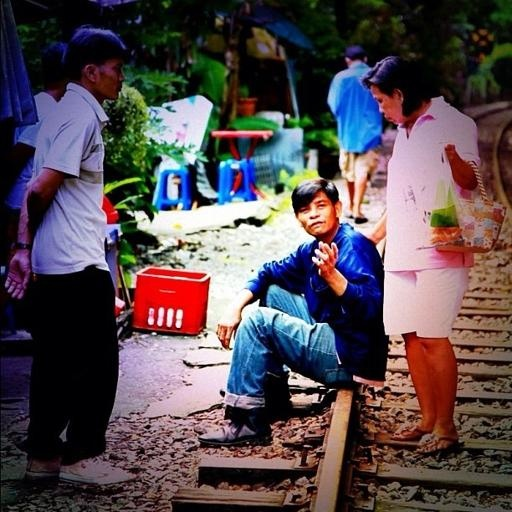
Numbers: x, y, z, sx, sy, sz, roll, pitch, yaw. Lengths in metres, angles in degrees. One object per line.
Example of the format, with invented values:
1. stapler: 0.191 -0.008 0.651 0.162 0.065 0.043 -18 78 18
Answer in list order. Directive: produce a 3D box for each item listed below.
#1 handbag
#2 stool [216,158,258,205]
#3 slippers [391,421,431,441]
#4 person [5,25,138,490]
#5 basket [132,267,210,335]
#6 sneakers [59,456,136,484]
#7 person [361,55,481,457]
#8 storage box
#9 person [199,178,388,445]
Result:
1. handbag: 1.098 -0.228 2.826 0.359 0.458 0.234 2 11 22
2. stool: -0.368 -1.400 10.401 0.870 1.044 0.840 -1 3 -5
3. slippers: 0.895 1.024 3.141 0.175 0.044 0.097 -13 10 -20
4. person: -0.917 0.042 2.755 0.697 2.349 0.343 -6 11 -19
5. basket: -0.791 0.429 5.227 0.693 0.484 0.388 7 12 5
6. sneakers: -0.821 1.145 2.896 0.383 0.139 0.136 7 -6 -11
7. person: 0.941 -0.010 3.011 0.399 2.169 0.549 -9 12 -30
8. storage box: -0.800 0.469 5.238 0.698 0.477 0.413 6 0 10
9. person: 0.343 0.345 3.362 1.221 1.496 1.248 3 2 -24
